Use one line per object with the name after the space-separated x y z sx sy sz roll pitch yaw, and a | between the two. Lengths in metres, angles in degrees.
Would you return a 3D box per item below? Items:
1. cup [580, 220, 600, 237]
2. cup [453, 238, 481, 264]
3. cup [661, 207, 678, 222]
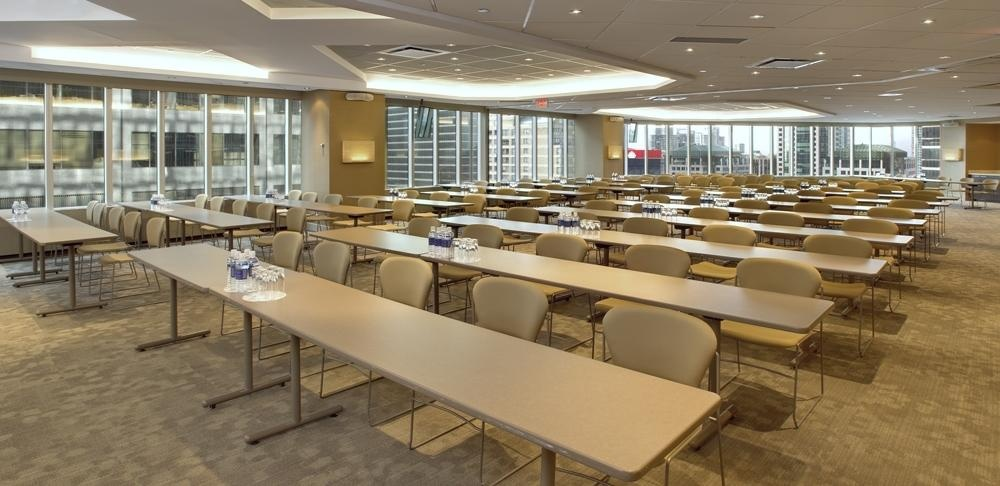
1.817 -0.248 10.934 0.393 0.206 0.331 1 7 2 | cup
-0.617 0.169 9.673 0.526 0.376 0.498 1 9 0 | cup
3.888 -0.586 12.320 0.423 0.311 0.421 0 11 0 | cup
